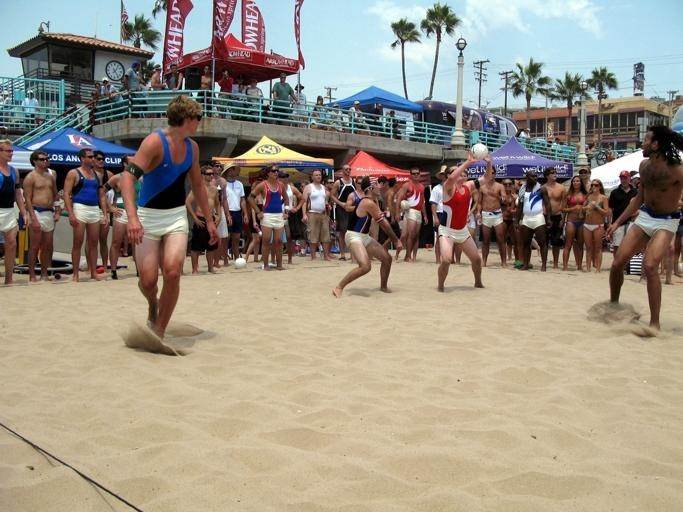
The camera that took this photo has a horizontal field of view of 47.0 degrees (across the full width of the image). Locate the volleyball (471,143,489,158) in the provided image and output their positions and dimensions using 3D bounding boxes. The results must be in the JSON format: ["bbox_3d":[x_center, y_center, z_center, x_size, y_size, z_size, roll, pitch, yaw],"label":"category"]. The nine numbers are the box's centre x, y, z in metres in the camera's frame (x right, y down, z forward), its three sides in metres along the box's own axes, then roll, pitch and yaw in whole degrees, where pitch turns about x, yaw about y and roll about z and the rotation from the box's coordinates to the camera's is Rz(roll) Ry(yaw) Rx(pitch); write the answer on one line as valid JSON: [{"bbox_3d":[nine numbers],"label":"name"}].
[{"bbox_3d":[1.979,-1.484,11.264,0.222,0.219,0.302,3,12,9],"label":"volleyball"}]

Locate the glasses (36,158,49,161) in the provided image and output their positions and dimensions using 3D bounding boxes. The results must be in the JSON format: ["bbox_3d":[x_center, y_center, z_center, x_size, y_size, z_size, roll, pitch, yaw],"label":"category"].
[{"bbox_3d":[-4.341,-1.396,11.401,0.046,0.058,0.174,4,12,14],"label":"glasses"}]

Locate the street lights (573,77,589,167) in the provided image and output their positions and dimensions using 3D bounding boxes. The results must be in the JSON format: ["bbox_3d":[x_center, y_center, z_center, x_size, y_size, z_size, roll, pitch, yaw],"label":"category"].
[{"bbox_3d":[9.823,-5.289,31.888,0.505,3.127,0.503,3,18,22],"label":"street lights"}]

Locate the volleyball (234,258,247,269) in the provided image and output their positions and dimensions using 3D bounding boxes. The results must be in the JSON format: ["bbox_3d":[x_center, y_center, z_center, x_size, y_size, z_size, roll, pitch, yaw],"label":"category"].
[{"bbox_3d":[-1.837,0.140,14.238,0.178,0.160,0.182,-1,9,11],"label":"volleyball"}]
